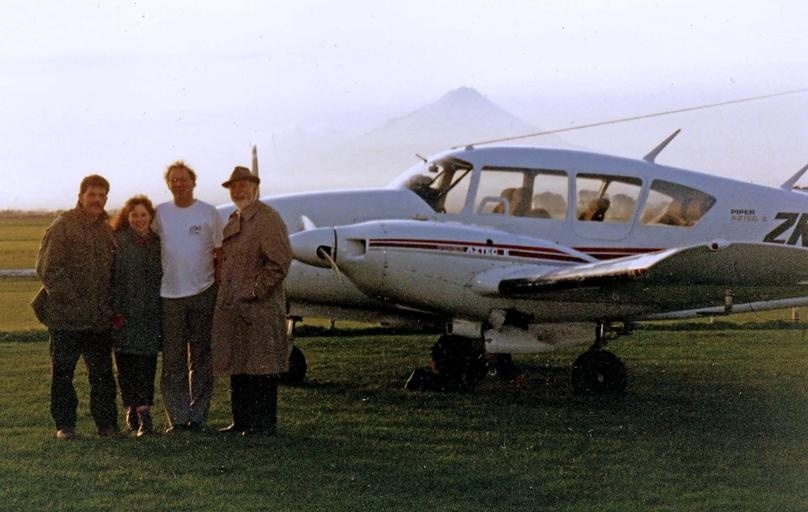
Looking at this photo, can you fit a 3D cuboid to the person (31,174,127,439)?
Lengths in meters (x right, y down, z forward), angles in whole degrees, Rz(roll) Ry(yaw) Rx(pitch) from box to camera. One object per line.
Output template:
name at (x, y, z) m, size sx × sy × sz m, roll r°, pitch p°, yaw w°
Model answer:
person at (-3.297, 0.522, 10.954) m, size 0.805 × 2.628 × 0.670 m, roll -3°, pitch 13°, yaw -15°

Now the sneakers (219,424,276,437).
sneakers at (-1.599, 1.793, 11.196) m, size 0.649 × 0.197 × 0.181 m, roll -5°, pitch -11°, yaw 18°

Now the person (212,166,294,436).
person at (-1.546, 0.461, 11.106) m, size 0.793 × 2.698 × 0.716 m, roll -1°, pitch 13°, yaw -8°

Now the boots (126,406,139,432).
boots at (-2.796, 1.699, 11.231) m, size 0.126 × 0.262 × 0.130 m, roll -1°, pitch 28°, yaw -7°

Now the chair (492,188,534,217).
chair at (1.356, -0.665, 13.392) m, size 0.476 × 0.339 × 0.380 m, roll -3°, pitch 1°, yaw -7°

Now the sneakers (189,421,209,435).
sneakers at (-2.095, 1.790, 11.206) m, size 0.165 × 0.093 × 0.065 m, roll 4°, pitch -7°, yaw -34°
